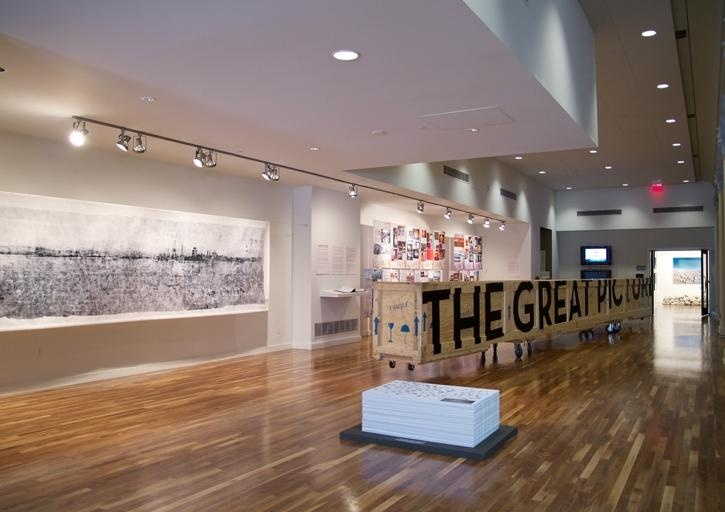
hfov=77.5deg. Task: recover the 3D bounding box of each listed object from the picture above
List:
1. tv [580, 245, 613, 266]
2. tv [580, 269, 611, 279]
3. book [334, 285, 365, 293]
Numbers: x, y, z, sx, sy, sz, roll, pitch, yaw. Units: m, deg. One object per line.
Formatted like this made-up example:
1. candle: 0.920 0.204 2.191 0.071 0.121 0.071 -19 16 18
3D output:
1. tv: 9.834 0.095 18.904 1.347 0.991 0.732 -3 -7 40
2. tv: 9.573 0.714 18.526 1.158 0.349 0.586 -1 -1 27
3. book: -0.265 0.798 10.718 0.548 0.163 1.264 -1 -2 26
